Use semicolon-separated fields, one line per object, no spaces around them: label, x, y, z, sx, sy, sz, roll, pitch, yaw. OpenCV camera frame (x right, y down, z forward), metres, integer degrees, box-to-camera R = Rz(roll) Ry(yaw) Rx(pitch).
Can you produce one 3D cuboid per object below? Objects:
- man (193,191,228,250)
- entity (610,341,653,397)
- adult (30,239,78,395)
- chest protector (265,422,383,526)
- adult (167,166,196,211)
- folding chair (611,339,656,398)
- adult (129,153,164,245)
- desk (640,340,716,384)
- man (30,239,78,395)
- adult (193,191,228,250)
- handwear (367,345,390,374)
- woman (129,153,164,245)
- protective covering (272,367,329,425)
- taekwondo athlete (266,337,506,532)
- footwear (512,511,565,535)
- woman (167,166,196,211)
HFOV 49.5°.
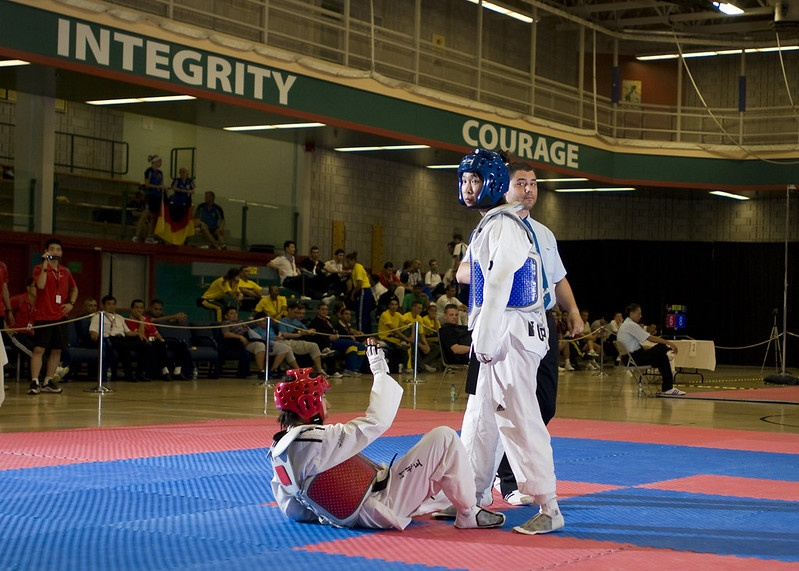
man;-4.059;-1.445;18.497;0.577;1.340;0.869;3;-5;-27
entity;4.357;1.406;15.799;0.638;0.915;0.556;-8;6;36
adult;-5.328;0.443;13.318;0.627;2.170;0.951;1;-1;-21
chest protector;-0.509;1.433;6.438;0.777;0.829;0.584;1;-27;-26
adult;-4.619;-2.079;18.363;0.501;0.723;0.943;1;-1;-14
folding chair;4.298;1.391;15.776;0.552;0.871;0.485;-3;7;6
adult;-5.208;-1.814;18.072;0.601;1.565;0.976;1;-1;-16
desk;5.607;1.486;17.535;0.836;0.728;0.912;-1;-9;13
man;-5.330;0.443;13.315;0.611;2.170;0.958;1;-1;-20
adult;-4.041;-1.460;18.486;0.566;1.334;0.889;3;-5;-22
handwear;-0.170;0.556;6.407;0.128;0.234;0.085;-6;-7;-23
woman;-5.071;-1.820;17.948;0.569;1.872;0.553;0;-6;29
protective covering;-0.734;0.774;6.342;0.398;0.441;0.310;-4;2;-10
taekwondo athlete;-0.194;1.167;6.524;1.514;1.338;1.087;-2;-4;-27
footwear;1.012;1.685;6.318;0.360;0.177;0.148;1;-4;-10
woman;-4.619;-2.079;18.363;0.501;0.723;0.943;1;-1;-14
